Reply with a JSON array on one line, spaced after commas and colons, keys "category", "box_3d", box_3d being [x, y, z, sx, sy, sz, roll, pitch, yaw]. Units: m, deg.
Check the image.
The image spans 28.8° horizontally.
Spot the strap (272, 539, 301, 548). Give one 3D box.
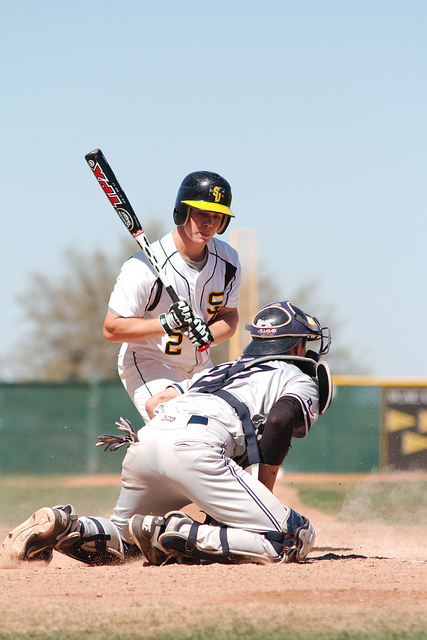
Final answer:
[{"category": "strap", "box_3d": [0.300, 0.885, 3.293, 0.085, 0.024, 0.055, 5, -7, -11]}]

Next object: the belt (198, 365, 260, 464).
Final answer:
[{"category": "belt", "box_3d": [0.061, 0.380, 3.519, 0.391, 0.339, 0.375, 6, 12, -12]}]

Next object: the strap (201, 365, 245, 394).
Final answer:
[{"category": "strap", "box_3d": [0.055, 0.250, 3.527, 0.229, 0.019, 0.076, -37, 23, -27]}]

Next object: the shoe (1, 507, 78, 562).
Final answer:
[{"category": "shoe", "box_3d": [-0.727, 0.872, 3.424, 0.394, 0.134, 0.193, -33, -32, 26]}]

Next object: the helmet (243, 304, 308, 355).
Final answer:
[{"category": "helmet", "box_3d": [0.287, 0.016, 3.746, 0.274, 0.176, 0.387, 2, 19, 46]}]

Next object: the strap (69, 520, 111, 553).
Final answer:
[{"category": "strap", "box_3d": [-0.515, 0.905, 3.449, 0.165, 0.048, 0.110, 0, 0, -15]}]

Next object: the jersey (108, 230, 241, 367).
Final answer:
[{"category": "jersey", "box_3d": [-0.183, -0.099, 4.344, 0.931, 0.714, 0.439, -3, 15, -40]}]

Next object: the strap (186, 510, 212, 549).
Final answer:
[{"category": "strap", "box_3d": [-0.044, 0.854, 3.333, 0.081, 0.106, 0.124, 1, -7, 1]}]

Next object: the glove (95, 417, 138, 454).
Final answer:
[{"category": "glove", "box_3d": [-0.433, 0.516, 3.706, 0.168, 0.136, 0.523, 0, 0, -7]}]

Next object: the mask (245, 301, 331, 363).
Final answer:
[{"category": "mask", "box_3d": [0.373, 0.047, 3.798, 0.379, 0.185, 0.258, 3, 1, -41]}]

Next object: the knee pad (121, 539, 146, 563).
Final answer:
[{"category": "knee pad", "box_3d": [-0.364, 1.044, 3.712, 0.091, 0.066, 0.139, 1, -16, -7]}]

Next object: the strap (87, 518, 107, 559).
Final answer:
[{"category": "strap", "box_3d": [-0.469, 0.929, 3.524, 0.078, 0.139, 0.113, 3, 4, -6]}]

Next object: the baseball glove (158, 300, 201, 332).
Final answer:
[{"category": "baseball glove", "box_3d": [-0.168, -0.011, 3.875, 0.143, 0.072, 0.160, 25, -20, -20]}]

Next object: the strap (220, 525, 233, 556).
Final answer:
[{"category": "strap", "box_3d": [0.041, 0.862, 3.233, 0.027, 0.085, 0.068, -1, -9, 11]}]

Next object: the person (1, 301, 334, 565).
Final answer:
[{"category": "person", "box_3d": [0.006, 0.486, 3.636, 1.520, 0.836, 0.939, -15, 16, -41]}]
